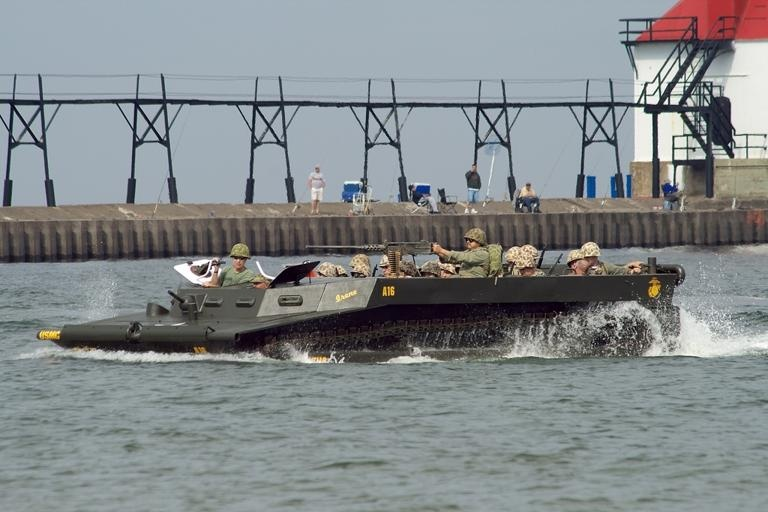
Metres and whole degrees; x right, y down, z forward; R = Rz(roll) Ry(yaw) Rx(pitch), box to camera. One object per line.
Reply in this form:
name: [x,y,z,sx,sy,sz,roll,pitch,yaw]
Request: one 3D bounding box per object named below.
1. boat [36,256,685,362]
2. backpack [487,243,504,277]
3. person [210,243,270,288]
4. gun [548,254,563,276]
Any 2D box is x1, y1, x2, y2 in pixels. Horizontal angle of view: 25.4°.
boat: [0.544,1.096,45.027,14.229,2.076,8.354,-3,5,-7]
backpack: [2.692,0.089,42.301,0.470,0.806,0.805,-2,40,0]
person: [-3.771,0.650,42.556,1.316,1.784,0.748,3,11,0]
gun: [4.699,0.314,46.907,0.166,0.669,0.205,33,-6,14]
